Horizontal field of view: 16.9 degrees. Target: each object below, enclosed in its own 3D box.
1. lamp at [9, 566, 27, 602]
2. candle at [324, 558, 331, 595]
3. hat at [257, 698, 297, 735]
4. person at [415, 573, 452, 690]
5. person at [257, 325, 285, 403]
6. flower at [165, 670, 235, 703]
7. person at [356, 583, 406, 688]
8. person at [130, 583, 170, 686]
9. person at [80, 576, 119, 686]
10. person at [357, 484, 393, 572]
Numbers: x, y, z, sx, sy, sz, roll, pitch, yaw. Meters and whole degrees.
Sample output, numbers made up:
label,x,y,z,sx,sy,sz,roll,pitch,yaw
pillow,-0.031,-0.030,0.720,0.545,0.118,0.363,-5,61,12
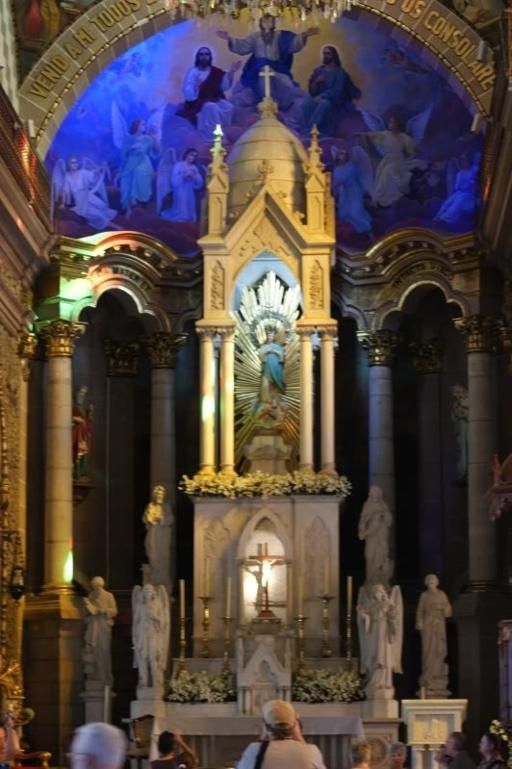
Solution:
label,x,y,z,sx,sy,sz,roll,pitch,yaw
lamp,-2.775,2.288,19.914,0.134,0.382,0.308,-2,-14,3
candle,0.821,2.208,19.858,0.070,0.423,0.094,-2,-14,4
hat,0.150,2.012,10.513,0.152,0.104,0.240,-1,19,0
person,2.103,2.956,20.122,0.415,1.420,0.564,-2,-14,5
person,0.211,-0.226,21.305,0.349,1.036,0.296,0,-14,-5
flower,-0.596,3.311,18.899,0.779,0.429,0.581,-2,-15,5
person,1.368,2.810,18.867,0.486,1.197,0.340,-3,-14,9
person,-1.172,2.815,19.073,0.398,1.195,0.459,1,-14,-6
person,-1.835,2.896,20.120,0.377,1.227,0.520,0,-14,-5
person,1.436,1.790,20.612,0.378,1.140,0.486,-2,-14,3
